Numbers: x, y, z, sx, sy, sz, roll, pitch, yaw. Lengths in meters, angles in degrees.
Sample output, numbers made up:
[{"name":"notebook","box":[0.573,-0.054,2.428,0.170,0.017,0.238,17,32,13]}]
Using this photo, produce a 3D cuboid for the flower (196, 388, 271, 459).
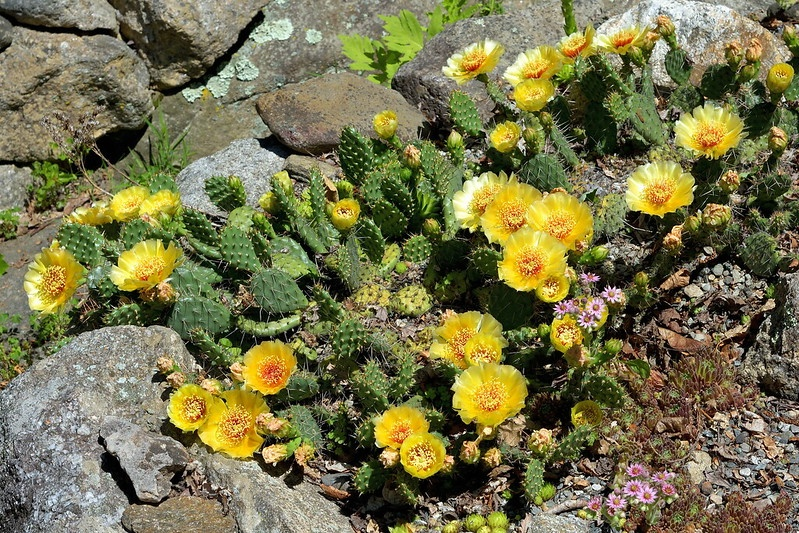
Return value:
[{"name":"flower","box":[-0.977,0.942,4.773,0.342,0.178,0.404,30,72,26]}]

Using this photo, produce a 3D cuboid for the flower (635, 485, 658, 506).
[{"name":"flower","box":[1.416,1.303,4.514,0.117,0.059,0.111,14,66,20]}]
